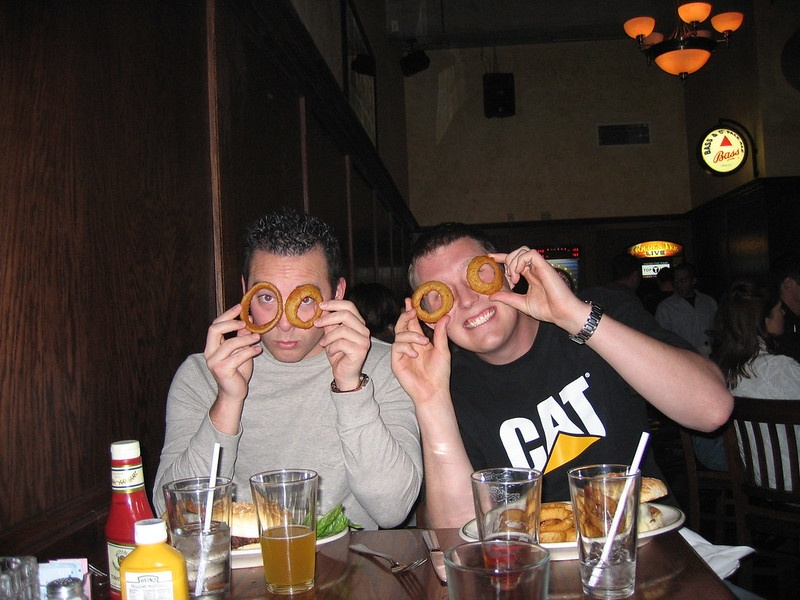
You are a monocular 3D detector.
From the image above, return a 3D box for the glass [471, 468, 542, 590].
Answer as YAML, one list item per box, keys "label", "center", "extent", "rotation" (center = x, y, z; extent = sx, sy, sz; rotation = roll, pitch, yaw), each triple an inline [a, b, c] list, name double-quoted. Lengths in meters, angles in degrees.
- label: "glass"
  center: [0.274, 0.572, 1.597]
  extent: [0.161, 0.268, 0.168]
  rotation: [-15, -19, 40]

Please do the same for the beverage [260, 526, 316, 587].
- label: "beverage"
  center: [-0.270, 0.630, 1.600]
  extent: [0.133, 0.141, 0.140]
  rotation: [-2, -11, 3]

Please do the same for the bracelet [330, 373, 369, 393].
- label: "bracelet"
  center: [-0.178, 0.290, 2.214]
  extent: [0.144, 0.048, 0.092]
  rotation: [-4, -2, 4]

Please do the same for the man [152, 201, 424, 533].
- label: "man"
  center: [-0.410, 0.528, 2.530]
  extent: [0.922, 1.675, 0.828]
  rotation: [2, 10, 3]

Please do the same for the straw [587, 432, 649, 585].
- label: "straw"
  center: [0.569, 0.552, 1.653]
  extent: [0.026, 0.356, 0.026]
  rotation: [28, -10, -27]

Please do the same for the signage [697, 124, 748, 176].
- label: "signage"
  center: [4.095, -1.912, 7.972]
  extent: [0.185, 0.665, 0.633]
  rotation: [-2, -2, -32]

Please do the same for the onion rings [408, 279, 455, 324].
- label: "onion rings"
  center: [0.135, 0.003, 2.601]
  extent: [0.190, 0.063, 0.200]
  rotation: [-6, -13, -1]

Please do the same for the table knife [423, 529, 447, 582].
- label: "table knife"
  center: [0.092, 0.635, 1.608]
  extent: [0.012, 0.142, 0.009]
  rotation: [-17, -8, 3]

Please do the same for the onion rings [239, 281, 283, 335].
- label: "onion rings"
  center: [-0.525, 0.032, 2.404]
  extent: [0.183, 0.192, 0.056]
  rotation: [7, -2, 17]

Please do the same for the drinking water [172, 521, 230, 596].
- label: "drinking water"
  center: [-0.449, 0.600, 1.530]
  extent: [0.147, 0.180, 0.155]
  rotation: [-3, -5, 14]

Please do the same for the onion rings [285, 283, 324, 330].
- label: "onion rings"
  center: [-0.358, 0.026, 2.393]
  extent: [0.151, 0.144, 0.044]
  rotation: [40, -16, -31]

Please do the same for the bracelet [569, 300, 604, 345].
- label: "bracelet"
  center: [0.697, 0.085, 2.359]
  extent: [0.116, 0.140, 0.092]
  rotation: [-4, -2, 14]

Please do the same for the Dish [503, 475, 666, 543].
- label: "Dish"
  center: [0.542, 0.580, 1.721]
  extent: [0.292, 0.104, 0.237]
  rotation: [-7, -7, 38]

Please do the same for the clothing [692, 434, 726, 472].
- label: "clothing"
  center: [2.020, 0.998, 4.114]
  extent: [0.198, 0.302, 0.132]
  rotation: [-9, 3, 35]

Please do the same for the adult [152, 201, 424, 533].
- label: "adult"
  center: [-0.398, 0.525, 2.505]
  extent: [0.898, 1.612, 0.844]
  rotation: [2, 6, 10]

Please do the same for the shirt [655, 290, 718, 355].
- label: "shirt"
  center: [2.704, 0.188, 5.913]
  extent: [0.513, 0.717, 0.372]
  rotation: [-3, -13, 4]
